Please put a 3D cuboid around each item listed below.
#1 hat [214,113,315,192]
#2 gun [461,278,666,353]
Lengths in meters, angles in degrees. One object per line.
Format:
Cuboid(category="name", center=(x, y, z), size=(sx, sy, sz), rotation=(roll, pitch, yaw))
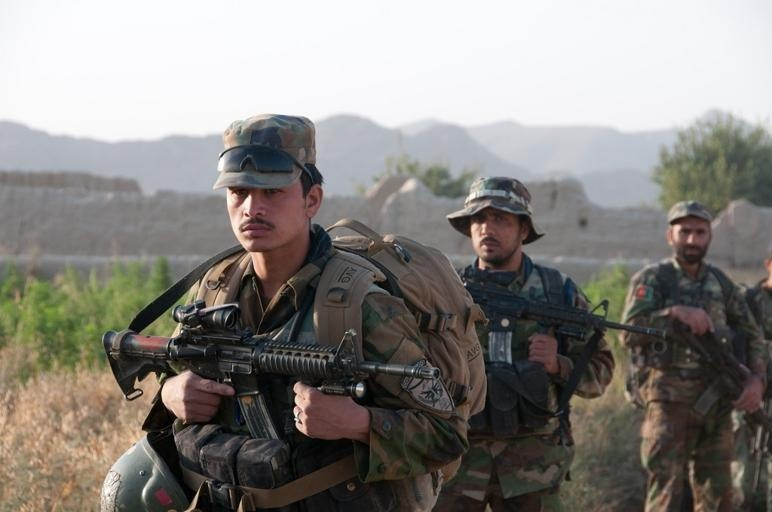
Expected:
Cuboid(category="hat", center=(-1.080, -0.913, 10.438), size=(0.759, 1.294, 1.145), rotation=(4, 10, 1))
Cuboid(category="gun", center=(1.945, 0.691, 12.576), size=(2.405, 0.821, 0.346), rotation=(16, -6, 3))
